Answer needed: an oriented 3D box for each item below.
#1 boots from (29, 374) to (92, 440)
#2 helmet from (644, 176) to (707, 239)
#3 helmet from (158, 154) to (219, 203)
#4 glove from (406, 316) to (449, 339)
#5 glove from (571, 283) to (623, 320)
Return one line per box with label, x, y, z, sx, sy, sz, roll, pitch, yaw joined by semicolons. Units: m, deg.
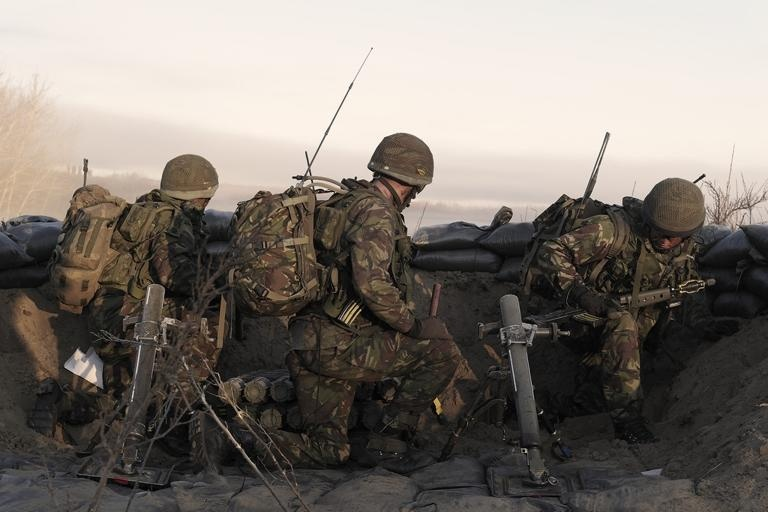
boots;-3.213;1.519;7.879;0.560;0.559;0.224;23;-12;-2
helmet;2.592;-0.415;7.027;0.615;0.590;0.479;7;-12;1
helmet;-2.072;-0.849;8.329;0.576;0.437;0.596;25;32;38
glove;0.373;0.647;6.877;0.437;0.218;0.171;-2;15;-45
glove;1.968;0.439;7.218;0.560;0.291;0.306;4;12;-26
